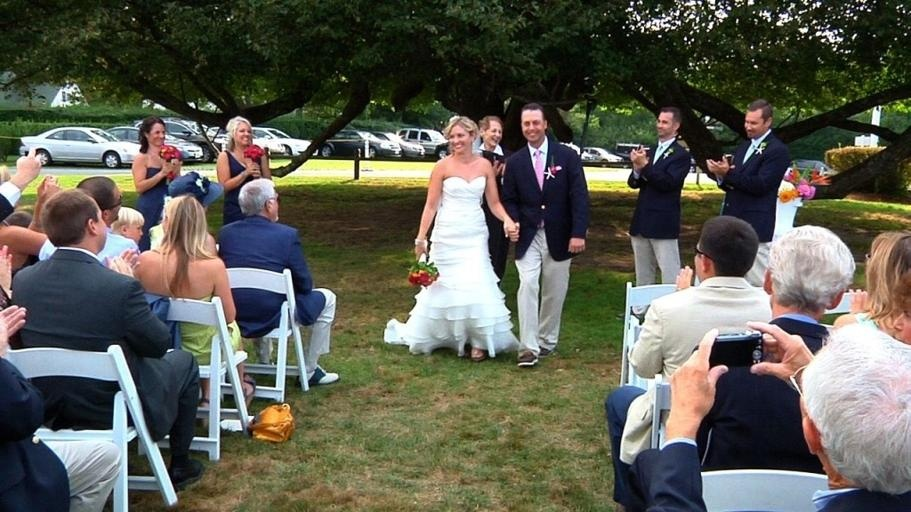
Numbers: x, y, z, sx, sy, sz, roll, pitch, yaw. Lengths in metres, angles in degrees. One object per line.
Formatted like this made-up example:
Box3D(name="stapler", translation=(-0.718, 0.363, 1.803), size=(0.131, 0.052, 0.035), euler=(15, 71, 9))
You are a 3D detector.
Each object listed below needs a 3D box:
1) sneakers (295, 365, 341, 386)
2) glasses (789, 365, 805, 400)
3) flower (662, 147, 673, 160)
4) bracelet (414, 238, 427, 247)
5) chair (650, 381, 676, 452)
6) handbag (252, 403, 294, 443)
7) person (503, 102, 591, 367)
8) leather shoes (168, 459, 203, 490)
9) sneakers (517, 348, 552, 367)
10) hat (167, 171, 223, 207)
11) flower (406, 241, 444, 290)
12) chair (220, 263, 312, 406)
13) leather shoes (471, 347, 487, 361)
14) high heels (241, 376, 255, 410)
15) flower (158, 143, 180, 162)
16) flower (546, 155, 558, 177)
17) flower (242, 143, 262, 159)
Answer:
Box3D(name="sneakers", translation=(-1.507, 1.380, 10.046), size=(0.375, 0.138, 0.167), euler=(-1, 1, -8))
Box3D(name="glasses", translation=(2.688, 0.991, 6.951), size=(0.117, 0.259, 0.222), euler=(4, 7, 20))
Box3D(name="flower", translation=(2.729, -1.348, 11.343), size=(0.028, 0.097, 0.066), euler=(24, 17, -34))
Box3D(name="bracelet", translation=(-0.412, -0.171, 10.750), size=(0.128, 0.057, 0.093), euler=(0, 2, -45))
Box3D(name="chair", translation=(1.753, 1.355, 7.521), size=(0.129, 0.575, 0.212), euler=(3, 8, 10))
Box3D(name="handbag", translation=(-1.858, 1.726, 9.003), size=(0.449, 0.295, 0.175), euler=(5, -38, 11))
Box3D(name="person", translation=(1.067, -0.288, 10.660), size=(1.034, 3.110, 0.708), euler=(2, 8, 2))
Box3D(name="leather shoes", translation=(-2.557, 2.070, 8.468), size=(0.188, 0.258, 0.410), euler=(4, 13, 20))
Box3D(name="sneakers", translation=(0.967, 1.228, 10.635), size=(0.166, 0.164, 0.473), euler=(-7, -6, 34))
Box3D(name="hat", translation=(-3.041, -0.775, 10.412), size=(0.609, 0.192, 0.416), euler=(-15, 41, -44))
Box3D(name="flower", translation=(-0.319, 0.191, 10.701), size=(0.325, 0.321, 0.286), euler=(-4, 17, -8))
Box3D(name="chair", translation=(-2.243, 0.993, 9.799), size=(1.103, 1.104, 1.046), euler=(12, 14, 17))
Box3D(name="leather shoes", translation=(0.304, 1.190, 10.734), size=(0.225, 0.146, 0.172), euler=(0, 7, -11))
Box3D(name="high heels", translation=(-2.206, 1.475, 9.463), size=(0.131, 0.319, 0.124), euler=(-1, 14, 6))
Box3D(name="flower", translation=(-3.754, -1.359, 11.488), size=(0.277, 0.193, 0.124), euler=(15, -20, 34))
Box3D(name="flower", translation=(1.180, -1.095, 10.668), size=(0.150, 0.227, 0.047), euler=(2, 8, -1))
Box3D(name="flower", translation=(-2.721, -1.414, 11.852), size=(0.241, 0.206, 0.229), euler=(-1, -2, -6))
